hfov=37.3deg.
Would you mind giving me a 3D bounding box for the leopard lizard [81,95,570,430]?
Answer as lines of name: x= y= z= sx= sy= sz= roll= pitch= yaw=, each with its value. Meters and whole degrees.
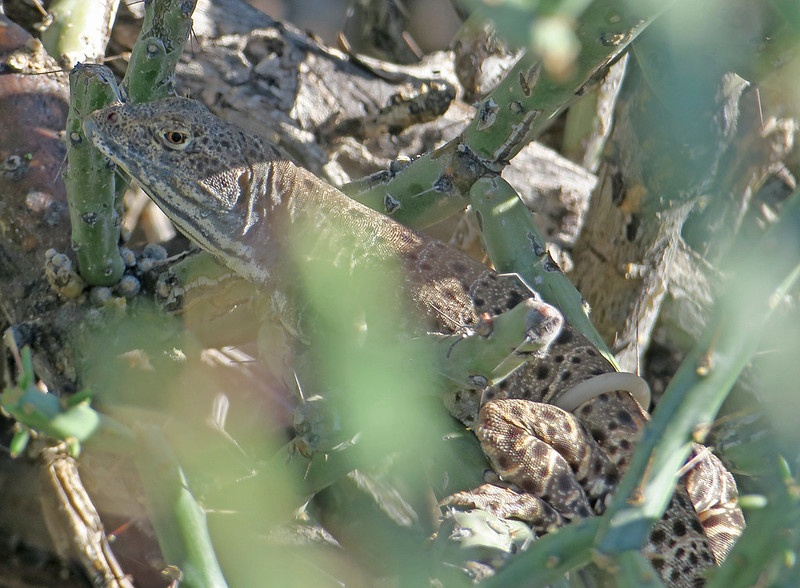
leopard lizard: x=-0.446 y=-0.240 z=4.804 sx=1.729 sy=0.507 sz=0.650 roll=23 pitch=71 yaw=6
